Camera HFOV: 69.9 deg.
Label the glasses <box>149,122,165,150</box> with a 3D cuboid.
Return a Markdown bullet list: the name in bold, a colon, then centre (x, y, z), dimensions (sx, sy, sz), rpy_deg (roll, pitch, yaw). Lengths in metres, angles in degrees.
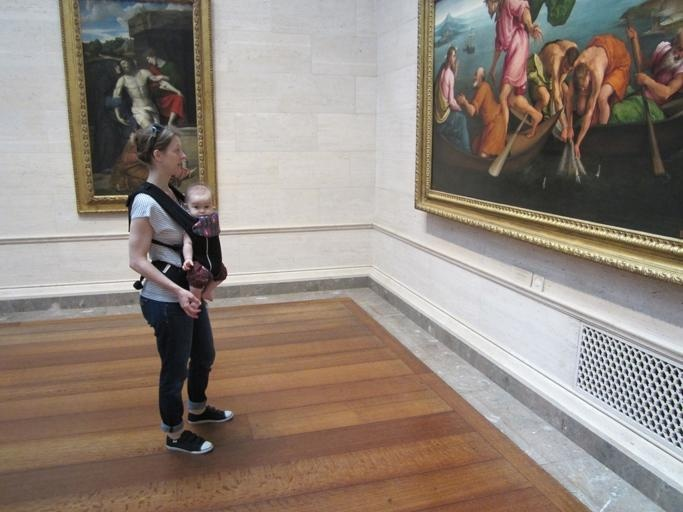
- **glasses**: centre (-1.245, -0.810, 3.328), dimensions (0.106, 0.149, 0.060), rpy_deg (28, 19, 32)

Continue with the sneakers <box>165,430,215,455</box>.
- **sneakers**: centre (-1.168, 1.451, 3.854), dimensions (0.418, 0.162, 0.151), rpy_deg (5, 10, -3)

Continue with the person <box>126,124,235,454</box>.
- **person**: centre (-1.176, 0.322, 3.575), dimensions (0.594, 2.456, 0.569), rpy_deg (-1, 19, -2)

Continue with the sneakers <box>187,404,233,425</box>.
- **sneakers**: centre (-1.101, 1.332, 4.168), dimensions (0.399, 0.156, 0.142), rpy_deg (0, 8, -21)
